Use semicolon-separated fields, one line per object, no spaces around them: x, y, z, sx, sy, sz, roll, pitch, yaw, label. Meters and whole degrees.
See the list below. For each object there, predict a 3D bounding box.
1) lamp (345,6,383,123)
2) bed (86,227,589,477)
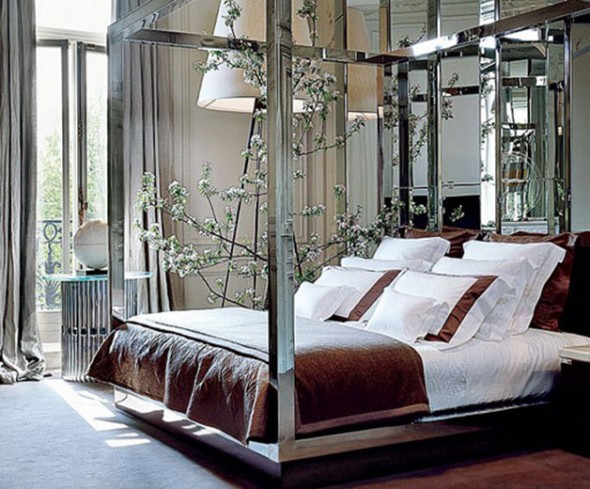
0.590;-1.586;4.225;0.240;0.847;0.402;-3;-3;37;lamp
0.276;0.520;2.600;2.797;1.073;1.467;-1;-3;-6;bed
